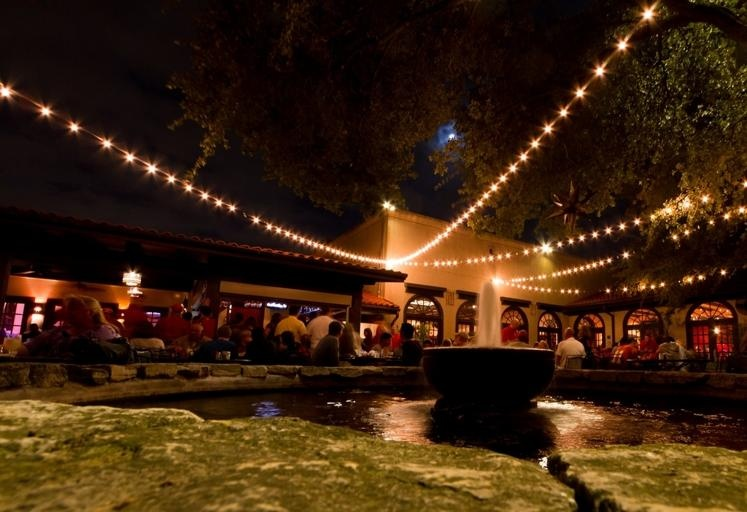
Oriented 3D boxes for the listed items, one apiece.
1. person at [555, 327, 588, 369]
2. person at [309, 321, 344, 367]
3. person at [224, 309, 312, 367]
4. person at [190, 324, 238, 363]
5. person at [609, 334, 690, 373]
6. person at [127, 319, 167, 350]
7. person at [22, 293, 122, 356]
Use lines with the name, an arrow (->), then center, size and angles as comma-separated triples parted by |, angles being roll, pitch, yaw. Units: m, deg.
person -> 4.567, 2.300, 11.498 | 0.538, 1.227, 0.664 | 0, 4, 39
person -> -0.778, 1.435, 8.358 | 0.461, 0.598, 0.916 | 5, -2, -4
person -> -1.819, 1.526, 8.956 | 1.043, 0.630, 1.381 | 7, -10, -35
person -> -2.512, 1.414, 7.902 | 0.634, 0.507, 1.257 | 5, -3, -15
person -> 6.053, 1.945, 10.913 | 1.414, 0.631, 1.111 | 7, -17, -10
person -> -3.998, 1.340, 8.662 | 0.593, 0.547, 1.150 | 6, -3, -27
person -> -4.336, 1.025, 7.115 | 1.121, 0.955, 1.427 | -6, -14, 37
